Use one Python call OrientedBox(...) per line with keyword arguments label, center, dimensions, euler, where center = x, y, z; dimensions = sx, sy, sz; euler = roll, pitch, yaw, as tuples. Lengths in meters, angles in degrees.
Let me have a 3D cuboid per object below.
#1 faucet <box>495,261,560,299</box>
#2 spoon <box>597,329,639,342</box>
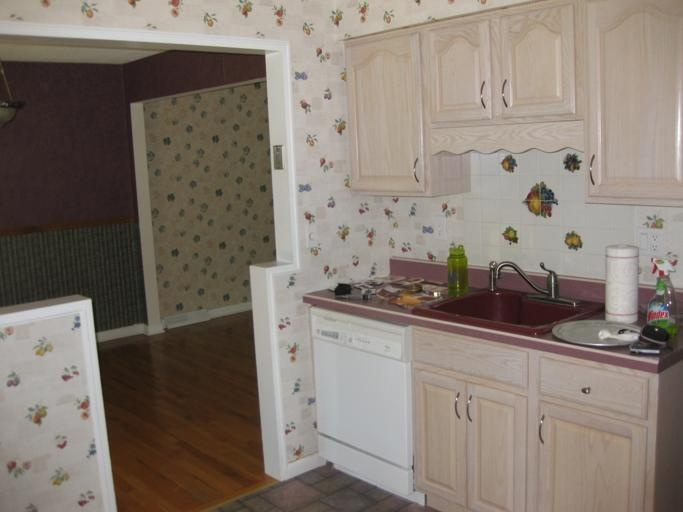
OrientedBox(label="faucet", center=(1.064, 0.136, 3.232), dimensions=(0.457, 0.219, 0.147), euler=(3, 3, 3))
OrientedBox(label="spoon", center=(1.248, 0.340, 2.570), dimensions=(0.164, 0.029, 0.189), euler=(3, 13, 26))
